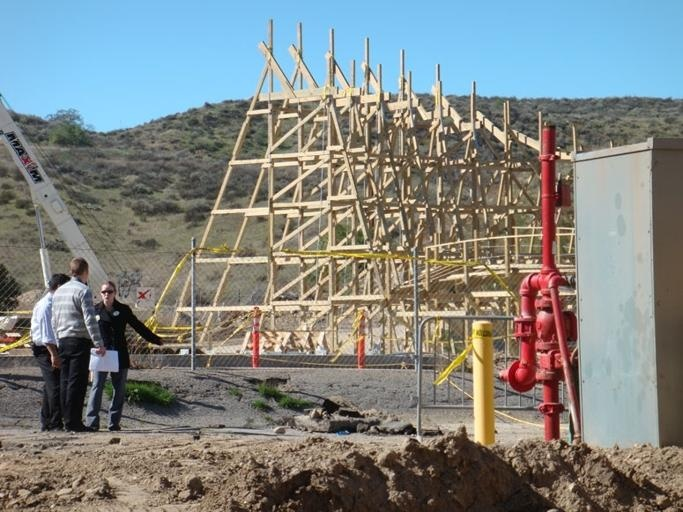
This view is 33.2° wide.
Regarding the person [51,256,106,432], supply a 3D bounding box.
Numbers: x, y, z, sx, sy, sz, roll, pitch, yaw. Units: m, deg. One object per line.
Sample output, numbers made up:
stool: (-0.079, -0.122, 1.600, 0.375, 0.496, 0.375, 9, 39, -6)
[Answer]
person: (-3.980, 1.335, 17.415, 0.897, 2.662, 0.429, -1, -4, 29)
